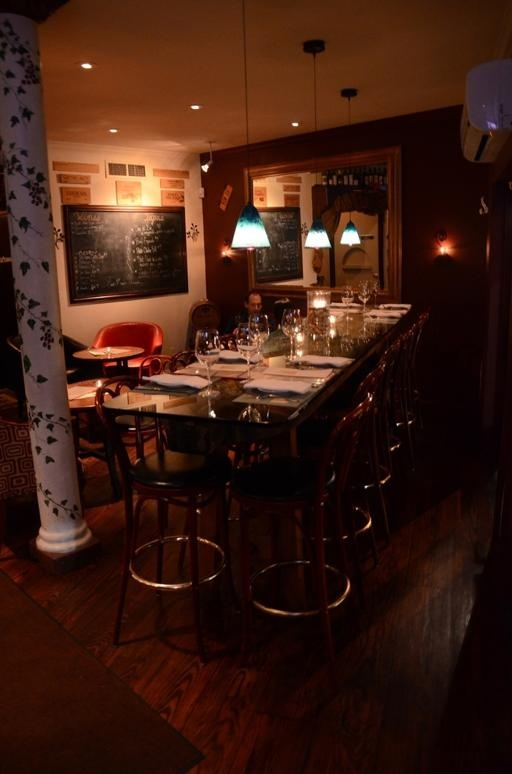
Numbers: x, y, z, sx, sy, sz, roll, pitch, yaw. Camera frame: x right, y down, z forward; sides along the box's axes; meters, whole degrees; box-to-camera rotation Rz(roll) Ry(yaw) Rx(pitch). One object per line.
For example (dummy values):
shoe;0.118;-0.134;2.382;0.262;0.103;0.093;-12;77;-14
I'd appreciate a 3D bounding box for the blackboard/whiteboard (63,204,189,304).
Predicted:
blackboard/whiteboard;-1.694;-1.685;6.896;0.049;0.912;1.219;13;24;43

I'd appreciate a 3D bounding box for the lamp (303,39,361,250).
lamp;0.749;-2.316;5.294;0.596;2.325;0.654;1;21;10

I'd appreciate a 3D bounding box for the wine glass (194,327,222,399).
wine glass;-0.201;-0.129;2.296;0.093;0.247;0.478;-4;11;-6

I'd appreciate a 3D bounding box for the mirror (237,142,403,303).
mirror;0.763;-1.812;6.483;1.917;1.660;0.039;8;32;28
